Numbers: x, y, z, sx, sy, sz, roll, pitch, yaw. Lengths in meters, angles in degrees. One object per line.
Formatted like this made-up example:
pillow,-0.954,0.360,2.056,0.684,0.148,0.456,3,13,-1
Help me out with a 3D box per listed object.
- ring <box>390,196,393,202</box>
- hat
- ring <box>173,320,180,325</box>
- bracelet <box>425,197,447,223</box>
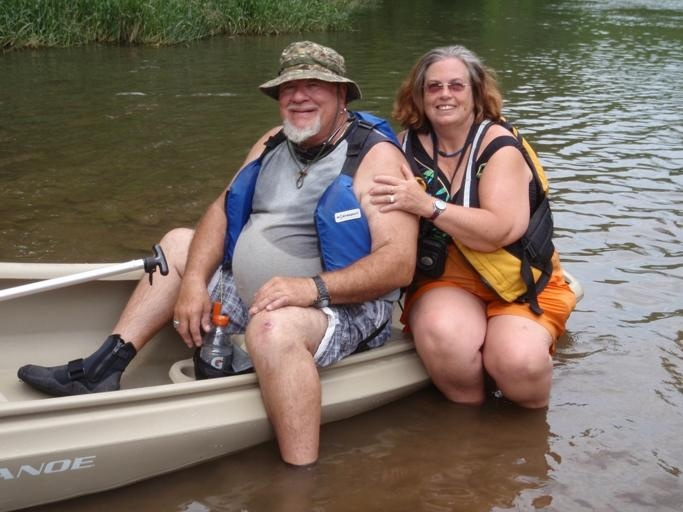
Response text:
ring,0.235,-0.260,3.032,0.019,0.034,0.009,-1,23,11
hat,-0.133,-0.912,3.271,0.394,0.196,0.401,1,5,19
ring,-0.805,0.325,3.164,0.027,0.023,0.014,-3,-11,24
bracelet,0.463,-0.214,3.109,0.090,0.106,0.047,-5,22,1
